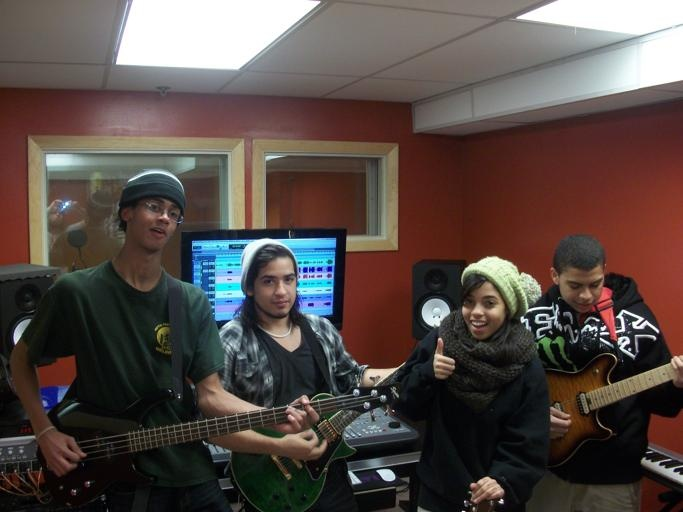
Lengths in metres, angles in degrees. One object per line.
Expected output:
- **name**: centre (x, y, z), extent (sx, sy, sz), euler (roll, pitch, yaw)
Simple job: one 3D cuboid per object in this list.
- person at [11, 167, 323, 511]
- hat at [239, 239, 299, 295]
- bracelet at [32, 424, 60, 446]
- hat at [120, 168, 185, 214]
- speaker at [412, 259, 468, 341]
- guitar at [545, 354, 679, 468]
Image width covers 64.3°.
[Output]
- **person**: centre (-0.679, 0.335, 2.024), extent (1.061, 1.312, 0.250), euler (-2, 3, -14)
- **hat**: centre (-0.381, 0.025, 2.508), extent (0.210, 0.288, 0.113), euler (10, -8, -6)
- **bracelet**: centre (-1.027, 0.620, 1.892), extent (0.086, 0.062, 0.029), euler (-1, 3, 8)
- **hat**: centre (-0.704, -0.210, 2.027), extent (0.172, 0.118, 0.175), euler (-13, -20, 25)
- **speaker**: centre (0.718, 0.266, 4.033), extent (0.395, 0.610, 0.385), euler (10, 30, 26)
- **guitar**: centre (1.186, 0.684, 2.436), extent (0.490, 0.205, 0.069), euler (-25, -19, 24)
